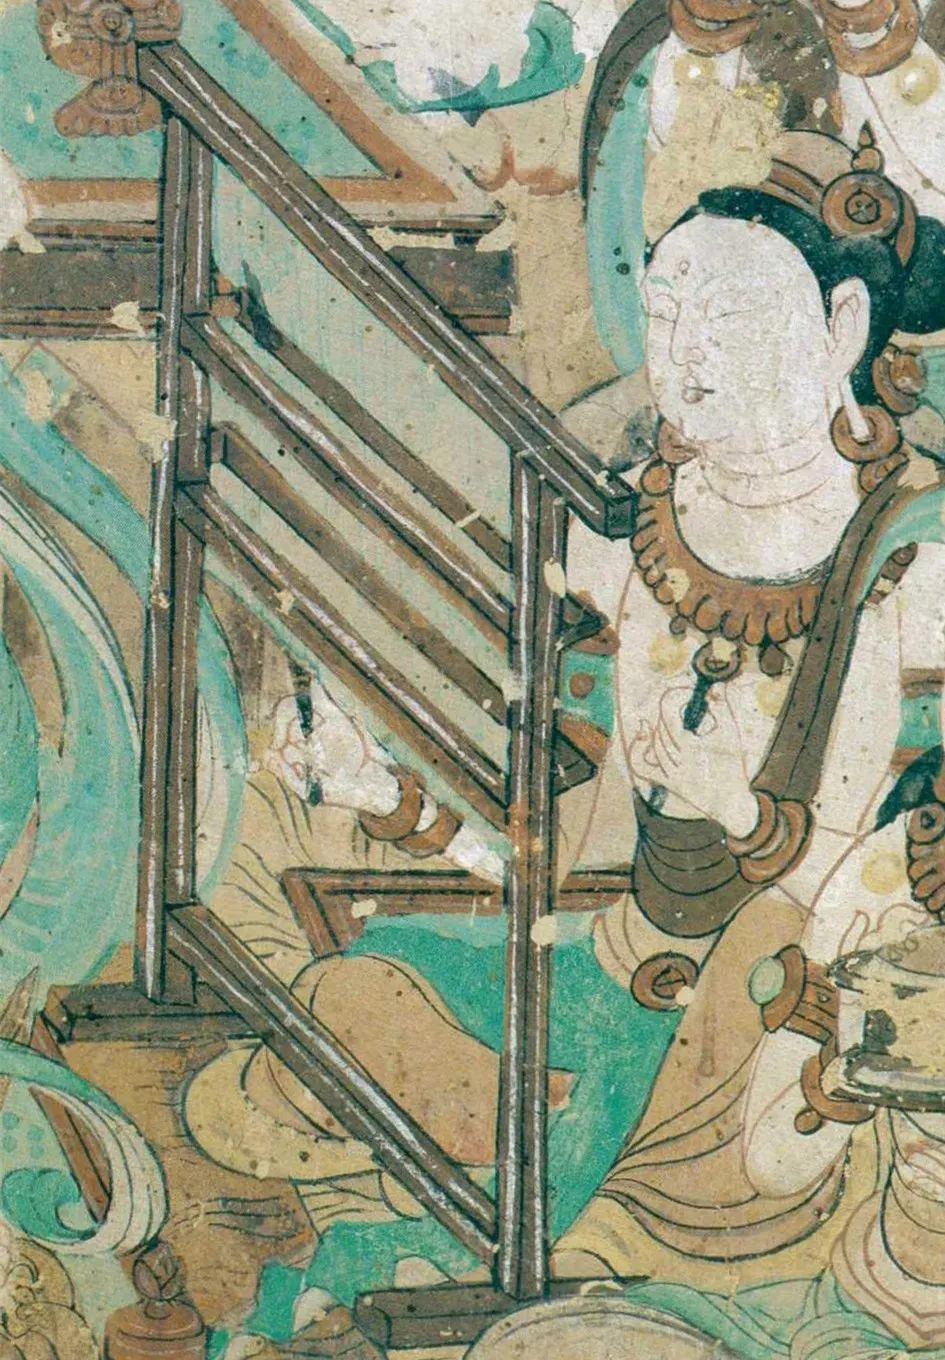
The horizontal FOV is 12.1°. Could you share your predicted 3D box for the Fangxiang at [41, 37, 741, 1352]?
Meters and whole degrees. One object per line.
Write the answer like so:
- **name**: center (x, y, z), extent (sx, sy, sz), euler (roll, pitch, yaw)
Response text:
- **Fangxiang**: center (-0.279, 0.088, 18.085), extent (1.203, 3.801, 3.741), euler (-1, -63, -45)
